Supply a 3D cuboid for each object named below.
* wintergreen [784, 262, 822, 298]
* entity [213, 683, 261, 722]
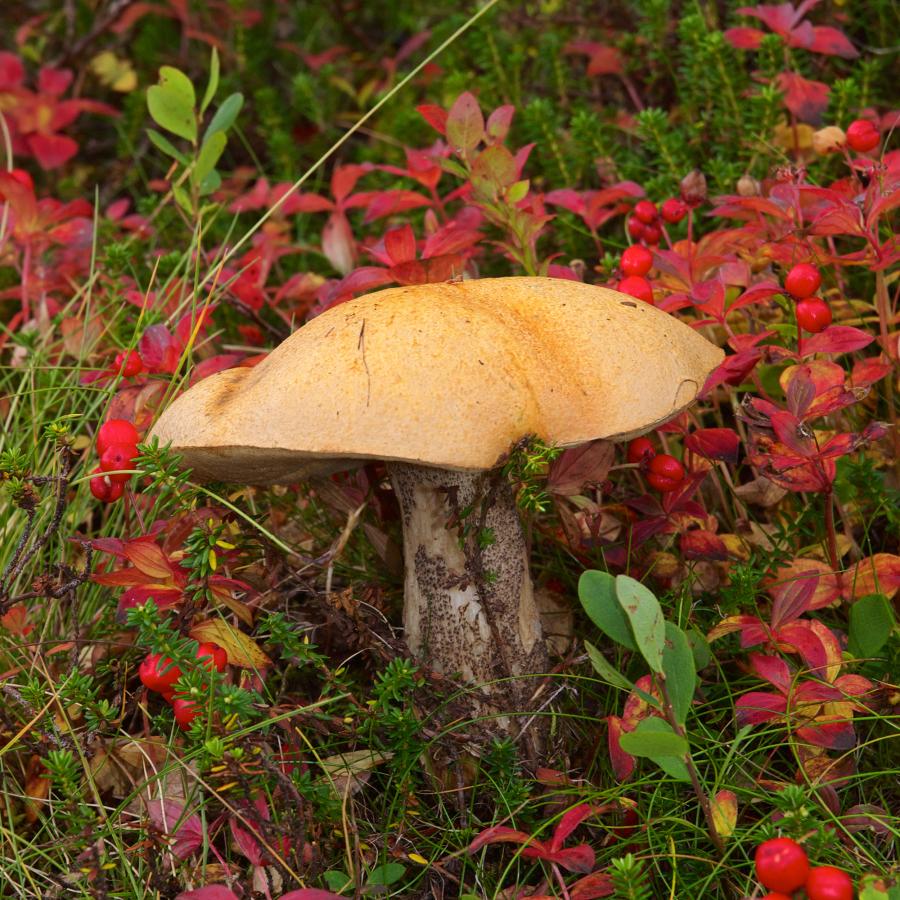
[{"bbox_3d":[0.689,-0.328,1.948,0.064,0.074,0.048,3,29,13],"label":"wintergreen"},{"bbox_3d":[-0.355,0.423,1.675,0.090,0.025,0.064,4,49,-8],"label":"entity"}]
